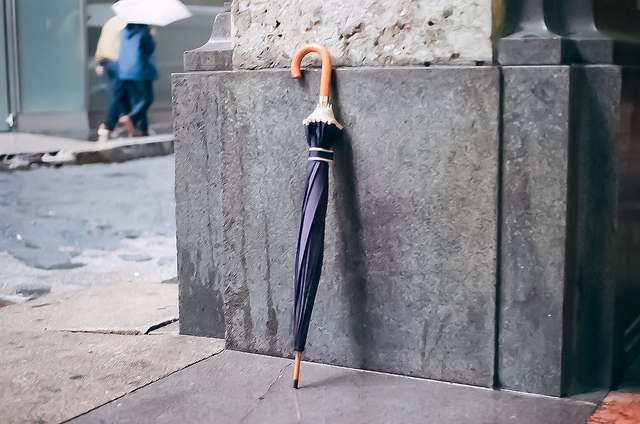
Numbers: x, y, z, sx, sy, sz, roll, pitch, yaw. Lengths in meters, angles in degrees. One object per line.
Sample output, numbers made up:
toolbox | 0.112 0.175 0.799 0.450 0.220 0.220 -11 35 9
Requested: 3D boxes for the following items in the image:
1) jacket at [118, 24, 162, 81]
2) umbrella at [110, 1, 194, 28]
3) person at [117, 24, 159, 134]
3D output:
jacket | -2.569 -2.182 11.203 0.523 0.781 0.499 -3 14 -5
umbrella | -2.316 -2.704 11.079 0.869 0.326 0.542 -8 15 -26
person | -2.600 -1.872 11.562 0.551 1.551 1.080 -5 14 -14
